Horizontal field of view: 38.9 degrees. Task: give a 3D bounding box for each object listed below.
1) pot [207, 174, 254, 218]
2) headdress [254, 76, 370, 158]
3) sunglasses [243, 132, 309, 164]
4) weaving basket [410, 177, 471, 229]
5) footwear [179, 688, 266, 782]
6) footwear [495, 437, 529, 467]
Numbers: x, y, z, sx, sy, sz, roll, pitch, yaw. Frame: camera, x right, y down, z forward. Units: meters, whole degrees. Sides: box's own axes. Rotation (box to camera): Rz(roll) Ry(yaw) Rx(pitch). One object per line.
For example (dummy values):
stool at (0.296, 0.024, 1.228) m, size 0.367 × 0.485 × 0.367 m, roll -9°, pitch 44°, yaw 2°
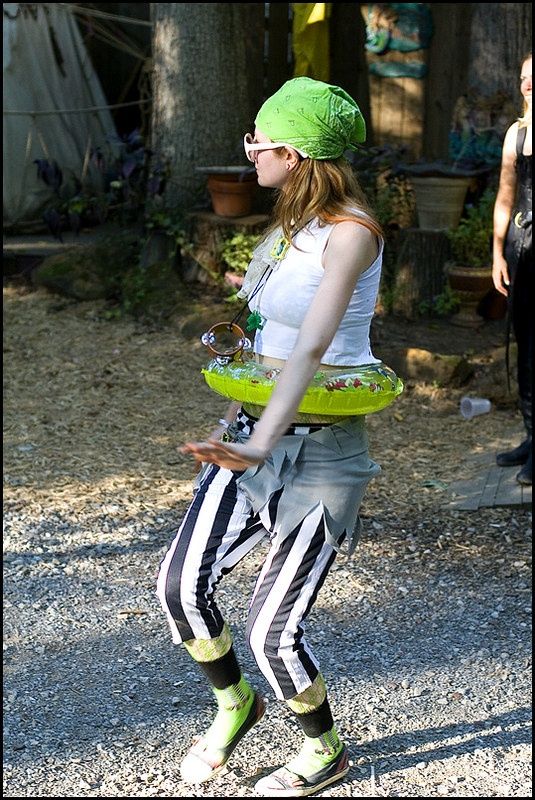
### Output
pot at (-0.329, -1.933, 7.247) m, size 0.444 × 0.285 × 0.409 m, roll 2°, pitch 10°, yaw 0°
headdress at (0.083, -0.656, 1.762) m, size 0.234 × 0.195 × 0.146 m, roll 1°, pitch 15°, yaw 7°
sunglasses at (0.017, -0.605, 1.798) m, size 0.135 × 0.043 × 0.107 m, roll 6°, pitch 3°, yaw -2°
weaving basket at (1.667, -1.939, 7.432) m, size 0.552 × 0.502 × 0.310 m, roll 1°, pitch 15°, yaw 9°
footwear at (-0.124, 0.964, 2.146) m, size 0.099 × 0.284 × 0.177 m, roll 41°, pitch -7°, yaw 29°
footwear at (1.453, 0.327, 4.532) m, size 0.283 × 0.166 × 0.096 m, roll 0°, pitch 12°, yaw 7°
